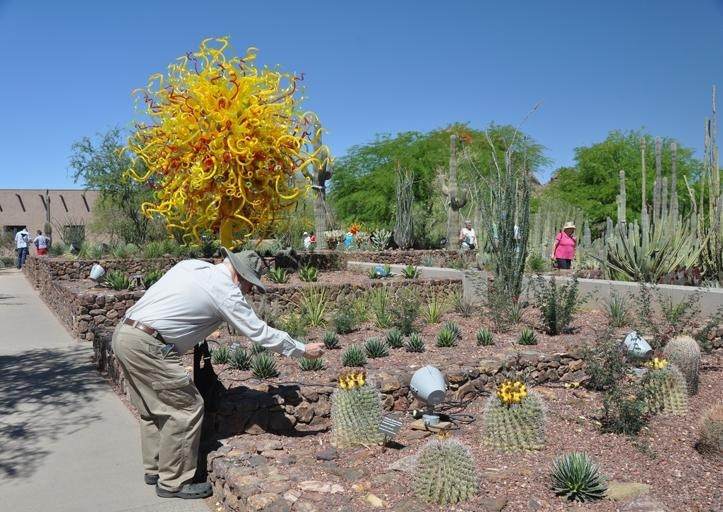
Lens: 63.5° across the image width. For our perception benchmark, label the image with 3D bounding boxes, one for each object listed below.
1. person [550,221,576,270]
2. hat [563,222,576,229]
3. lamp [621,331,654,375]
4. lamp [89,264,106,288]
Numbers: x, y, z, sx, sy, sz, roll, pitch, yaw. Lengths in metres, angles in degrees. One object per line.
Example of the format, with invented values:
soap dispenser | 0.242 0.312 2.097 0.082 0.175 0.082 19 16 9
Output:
person | 4.767 -0.207 13.775 0.450 1.323 1.559 1 11 19
hat | 4.698 -0.672 13.168 0.404 0.150 0.426 -1 1 19
lamp | 3.469 1.237 7.355 0.264 0.279 0.379 -16 17 1
lamp | -5.888 0.456 12.933 0.334 0.489 0.326 0 28 -21
